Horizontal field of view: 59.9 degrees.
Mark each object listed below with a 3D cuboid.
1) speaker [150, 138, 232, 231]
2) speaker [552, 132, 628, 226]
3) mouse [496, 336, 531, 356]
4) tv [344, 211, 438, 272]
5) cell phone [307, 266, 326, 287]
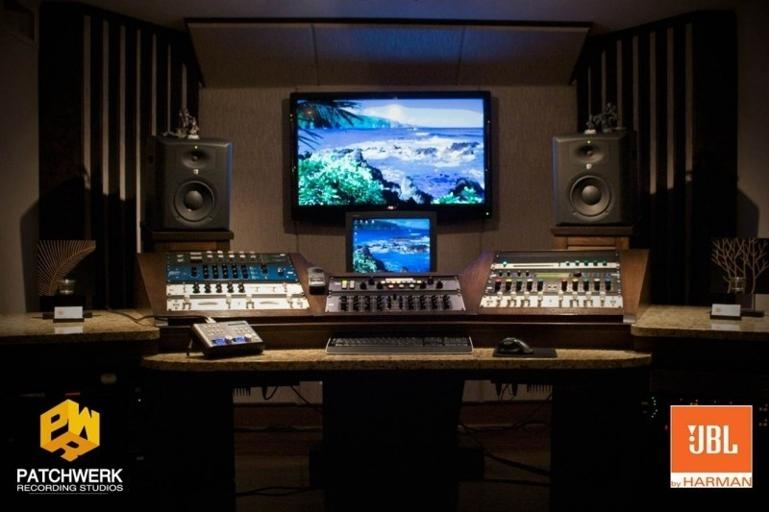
[{"bbox_3d":[-1.133,-0.425,3.926,0.470,0.525,0.439,3,9,-7],"label":"speaker"},{"bbox_3d":[1.243,-0.474,3.932,0.483,0.562,0.464,6,17,41],"label":"speaker"},{"bbox_3d":[0.618,0.428,3.235,0.141,0.047,0.083,-2,5,6],"label":"mouse"},{"bbox_3d":[0.038,-0.050,3.917,0.627,0.480,0.329,0,-5,0],"label":"tv"},{"bbox_3d":[-0.363,0.105,3.560,0.072,0.027,0.119,1,28,-4],"label":"cell phone"}]
